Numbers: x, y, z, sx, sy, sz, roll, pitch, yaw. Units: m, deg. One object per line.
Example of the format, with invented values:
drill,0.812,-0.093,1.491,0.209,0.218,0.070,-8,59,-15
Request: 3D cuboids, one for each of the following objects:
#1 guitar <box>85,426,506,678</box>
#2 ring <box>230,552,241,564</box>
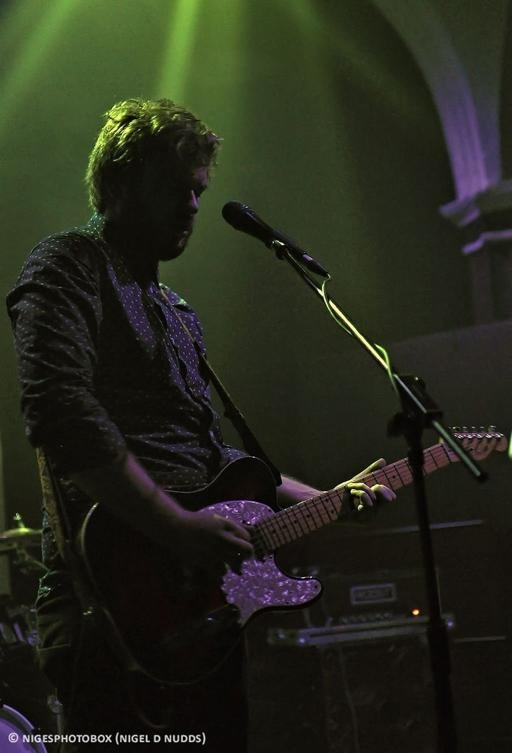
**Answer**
guitar,0.094,0.555,2.583,1.541,0.500,0.163,-17,-3,-28
ring,-0.063,0.558,2.398,0.024,0.036,0.011,15,-10,-18
